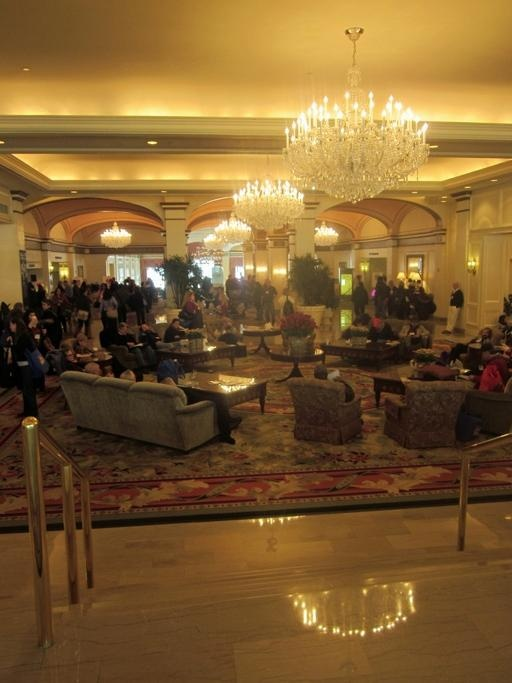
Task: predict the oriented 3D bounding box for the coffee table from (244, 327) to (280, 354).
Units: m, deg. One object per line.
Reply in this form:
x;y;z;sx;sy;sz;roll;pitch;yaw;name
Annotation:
0.084;0.040;11.743;0.737;0.400;0.744;10;17;39;coffee table

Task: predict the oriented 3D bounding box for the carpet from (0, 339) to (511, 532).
-0.120;1.158;5.825;5.722;1.082;3.427;-2;-10;-5;carpet

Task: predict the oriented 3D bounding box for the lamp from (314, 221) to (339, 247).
3.185;-4.987;23.175;0.857;1.177;0.903;-6;-10;14;lamp

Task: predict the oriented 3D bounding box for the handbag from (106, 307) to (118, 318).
-4.028;-0.788;14.088;0.255;0.178;0.243;-1;9;2;handbag

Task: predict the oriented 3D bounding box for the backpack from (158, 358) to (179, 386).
-1.131;0.397;6.477;0.163;0.279;0.227;14;22;31;backpack

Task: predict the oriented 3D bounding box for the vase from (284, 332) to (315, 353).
0.752;0.059;8.621;0.409;0.279;0.303;3;-3;-44;vase

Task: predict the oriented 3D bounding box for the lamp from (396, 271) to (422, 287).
5.633;-2.281;18.421;0.378;0.509;1.098;-10;14;-27;lamp

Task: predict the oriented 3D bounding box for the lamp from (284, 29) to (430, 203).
1.296;-2.897;6.593;1.748;2.216;1.675;-1;3;-23;lamp

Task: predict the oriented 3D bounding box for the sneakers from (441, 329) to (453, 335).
5.677;-0.277;15.008;0.261;0.231;0.119;-4;7;45;sneakers

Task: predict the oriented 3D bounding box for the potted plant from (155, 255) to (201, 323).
-2.617;-1.767;14.388;1.417;1.696;1.370;-7;20;-18;potted plant

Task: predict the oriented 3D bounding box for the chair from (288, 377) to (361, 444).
0.845;0.789;6.042;0.666;0.717;0.828;1;4;24;chair

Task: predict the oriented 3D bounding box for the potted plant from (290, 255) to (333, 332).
1.363;-1.210;13.694;1.504;2.165;1.372;-1;2;-41;potted plant

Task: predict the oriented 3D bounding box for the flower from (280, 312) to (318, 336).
0.743;-0.347;8.630;0.453;0.412;0.444;2;14;6;flower

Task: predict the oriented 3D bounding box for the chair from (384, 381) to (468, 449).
1.835;0.765;5.871;0.715;0.734;0.886;-1;8;-8;chair
